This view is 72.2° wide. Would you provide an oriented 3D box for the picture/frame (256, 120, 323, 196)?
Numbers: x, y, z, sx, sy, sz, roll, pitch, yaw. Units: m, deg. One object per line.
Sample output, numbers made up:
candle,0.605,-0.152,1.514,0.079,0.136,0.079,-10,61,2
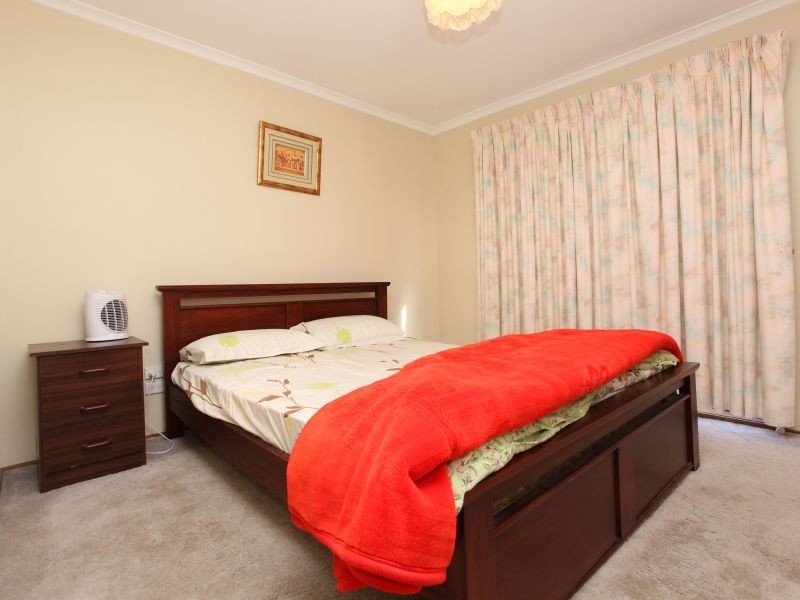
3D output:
picture/frame,-0.939,-1.156,4.519,0.648,0.582,0.051,-2,6,-44
